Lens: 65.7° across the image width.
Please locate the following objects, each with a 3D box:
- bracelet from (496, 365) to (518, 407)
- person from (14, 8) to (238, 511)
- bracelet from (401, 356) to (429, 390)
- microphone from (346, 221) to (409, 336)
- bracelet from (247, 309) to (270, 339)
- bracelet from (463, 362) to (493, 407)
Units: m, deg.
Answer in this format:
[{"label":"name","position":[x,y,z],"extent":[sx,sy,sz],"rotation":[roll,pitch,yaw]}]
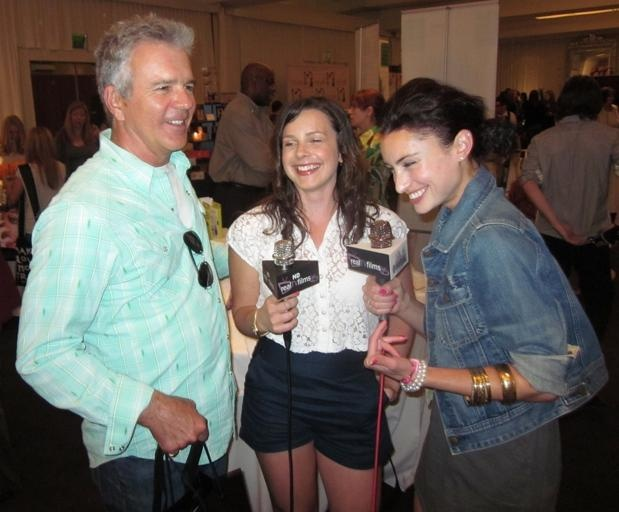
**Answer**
[{"label":"bracelet","position":[0.531,0.344,1.291],"extent":[0.028,0.091,0.085],"rotation":[-6,-20,10]},{"label":"person","position":[-0.576,0.051,1.573],"extent":[0.587,1.624,0.690],"rotation":[-2,14,-4]},{"label":"bracelet","position":[0.307,0.352,1.393],"extent":[0.069,0.110,0.069],"rotation":[3,15,15]},{"label":"microphone","position":[0.234,0.044,1.554],"extent":[0.219,0.365,0.182],"rotation":[3,20,20]},{"label":"bracelet","position":[-0.179,0.233,1.698],"extent":[0.068,0.108,0.076],"rotation":[0,-1,-9]},{"label":"bracelet","position":[0.469,0.365,1.361],"extent":[0.071,0.111,0.110],"rotation":[-6,-13,12]}]
